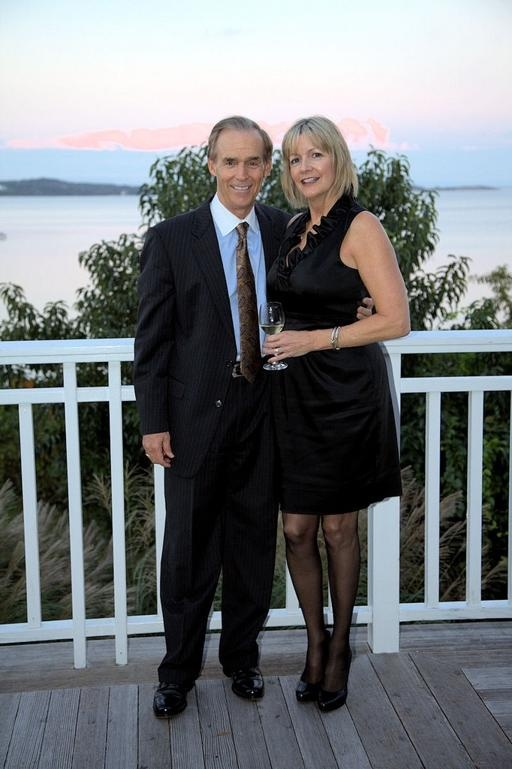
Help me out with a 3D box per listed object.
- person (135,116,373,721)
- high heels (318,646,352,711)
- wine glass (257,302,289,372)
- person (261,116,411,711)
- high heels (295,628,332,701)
[{"bbox_3d":[-0.092,0.121,2.335,0.650,1.773,0.611,-1,15,-15],"label":"person"},{"bbox_3d":[0.231,0.880,2.108,0.061,0.030,0.203,2,38,18],"label":"high heels"},{"bbox_3d":[0.044,-0.126,1.915,0.095,0.222,0.090,-23,45,-16],"label":"wine glass"},{"bbox_3d":[0.232,0.067,2.132,0.486,1.602,0.471,-1,1,-1],"label":"person"},{"bbox_3d":[0.161,0.841,2.152,0.095,0.180,0.102,1,13,-8],"label":"high heels"}]
